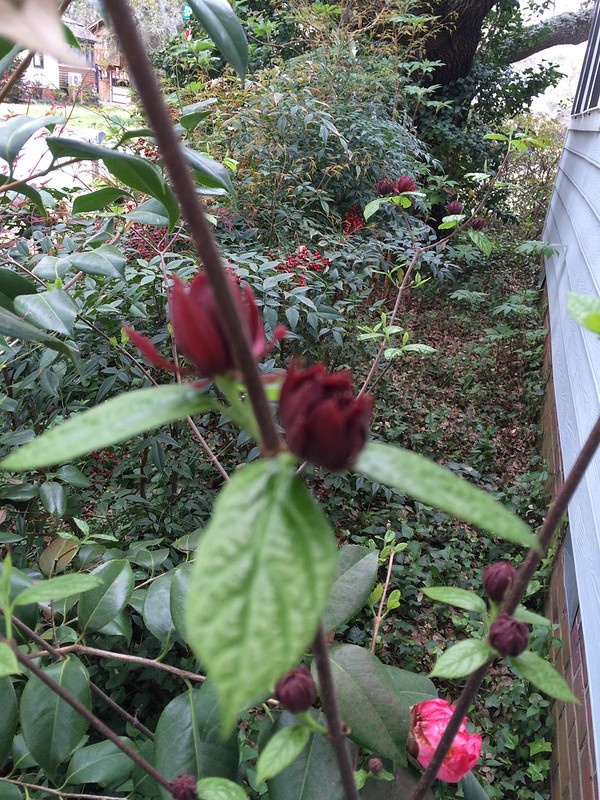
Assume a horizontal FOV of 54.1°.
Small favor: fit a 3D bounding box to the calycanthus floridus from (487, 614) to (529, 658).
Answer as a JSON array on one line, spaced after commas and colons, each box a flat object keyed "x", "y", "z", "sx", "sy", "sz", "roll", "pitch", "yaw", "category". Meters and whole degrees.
[{"x": 0.190, "y": 0.214, "z": 0.532, "sx": 0.034, "sy": 0.037, "sz": 0.039, "roll": -2, "pitch": 5, "yaw": -1, "category": "calycanthus floridus"}]

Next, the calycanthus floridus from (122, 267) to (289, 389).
[{"x": -0.062, "y": -0.036, "z": 0.383, "sx": 0.072, "sy": 0.089, "sz": 0.075, "roll": 18, "pitch": 26, "yaw": 35, "category": "calycanthus floridus"}]

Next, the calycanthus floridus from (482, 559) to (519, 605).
[{"x": 0.208, "y": 0.187, "z": 0.604, "sx": 0.030, "sy": 0.060, "sz": 0.030, "roll": -3, "pitch": 30, "yaw": 5, "category": "calycanthus floridus"}]
